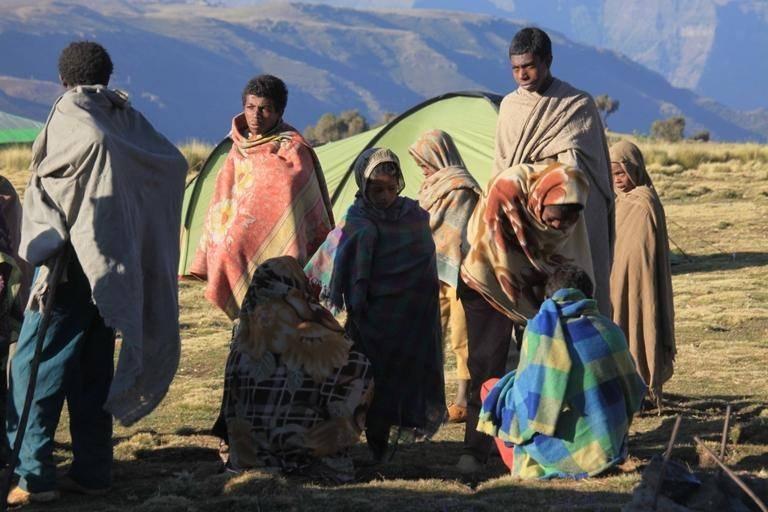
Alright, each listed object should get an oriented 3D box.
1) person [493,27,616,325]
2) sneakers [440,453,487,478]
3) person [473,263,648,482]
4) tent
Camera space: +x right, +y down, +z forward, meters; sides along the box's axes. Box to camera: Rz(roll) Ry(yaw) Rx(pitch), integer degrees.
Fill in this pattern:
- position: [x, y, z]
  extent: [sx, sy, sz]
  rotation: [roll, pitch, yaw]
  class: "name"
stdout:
- position: [1.708, -0.537, 13.542]
  extent: [1.213, 3.416, 0.829]
  rotation: [-2, 15, 15]
  class: "person"
- position: [0.808, 1.995, 12.751]
  extent: [0.347, 0.142, 0.201]
  rotation: [6, -3, 4]
  class: "sneakers"
- position: [1.712, 1.108, 12.390]
  extent: [1.438, 1.844, 0.611]
  rotation: [1, 14, 10]
  class: "person"
- position: [-0.298, -0.733, 18.369]
  extent: [3.722, 1.396, 2.690]
  rotation: [-3, 10, 18]
  class: "tent"
